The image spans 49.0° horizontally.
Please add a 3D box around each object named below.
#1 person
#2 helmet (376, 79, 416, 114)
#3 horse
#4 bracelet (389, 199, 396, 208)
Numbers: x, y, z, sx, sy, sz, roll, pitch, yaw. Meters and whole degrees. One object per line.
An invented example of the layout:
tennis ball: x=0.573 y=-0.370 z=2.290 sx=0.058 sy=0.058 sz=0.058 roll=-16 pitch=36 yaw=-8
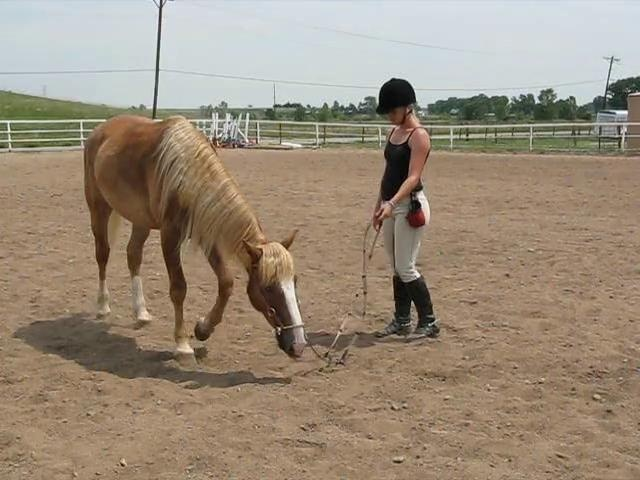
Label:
person: x=0.837 y=-0.282 z=7.150 sx=0.610 sy=2.661 sz=0.914 roll=7 pitch=10 yaw=36
helmet: x=0.753 y=-1.420 z=6.882 sx=0.384 sy=0.339 sz=0.302 roll=2 pitch=8 yaw=4
horse: x=-1.553 y=-0.054 z=7.608 sx=0.927 sy=2.565 sz=3.880 roll=-12 pitch=19 yaw=-40
bracelet: x=0.711 y=-0.368 z=6.852 sx=0.077 sy=0.075 sz=0.019 roll=0 pitch=-19 yaw=5
